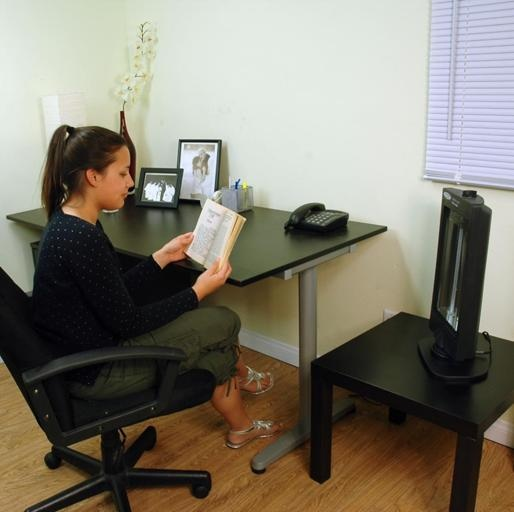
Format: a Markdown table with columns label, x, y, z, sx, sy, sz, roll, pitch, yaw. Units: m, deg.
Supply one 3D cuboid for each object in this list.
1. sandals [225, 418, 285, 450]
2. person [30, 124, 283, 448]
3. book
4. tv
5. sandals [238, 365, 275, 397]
| label | x | y | z | sx | sy | sz | roll | pitch | yaw |
| --- | --- | --- | --- | --- | --- | --- | --- | --- | --- |
| sandals | -0.016 | 0.694 | 1.758 | 0.199 | 0.082 | 0.090 | -13 | 18 | -35 |
| person | -0.274 | 0.124 | 1.428 | 0.707 | 0.947 | 0.395 | -5 | 11 | -25 |
| book | -0.122 | -0.057 | 1.464 | 0.205 | 0.226 | 0.068 | 30 | 19 | 31 |
| tv | 0.620 | 0.069 | 1.326 | 0.222 | 0.525 | 0.325 | 8 | 19 | 22 |
| sandals | -0.009 | 0.565 | 2.060 | 0.174 | 0.078 | 0.099 | -3 | 37 | -17 |
